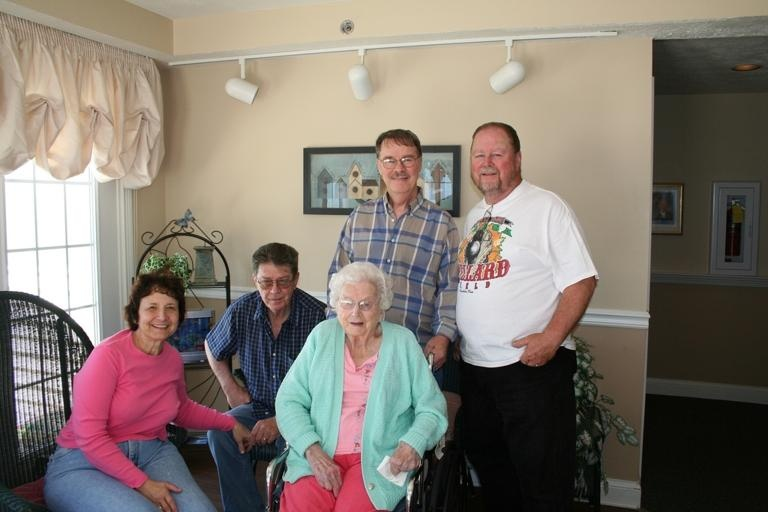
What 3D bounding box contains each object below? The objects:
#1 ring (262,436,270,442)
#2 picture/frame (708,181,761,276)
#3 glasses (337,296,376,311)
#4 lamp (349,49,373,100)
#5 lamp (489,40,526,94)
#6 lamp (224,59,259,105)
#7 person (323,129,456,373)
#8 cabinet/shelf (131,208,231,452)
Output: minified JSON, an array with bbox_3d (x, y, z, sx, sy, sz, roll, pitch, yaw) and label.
[{"bbox_3d":[-0.679,1.050,3.362,0.027,0.021,0.008,14,-24,9],"label":"ring"},{"bbox_3d":[3.174,-0.250,5.342,0.399,0.824,0.143,3,13,10],"label":"picture/frame"},{"bbox_3d":[-0.150,0.242,2.953,0.173,0.057,0.030,2,13,6],"label":"glasses"},{"bbox_3d":[-0.163,-1.358,4.163,0.171,0.417,0.416,1,-4,-1],"label":"lamp"},{"bbox_3d":[0.846,-1.308,4.051,0.237,0.367,0.197,5,14,17],"label":"lamp"},{"bbox_3d":[-1.095,-1.343,4.519,0.283,0.343,0.204,3,14,12],"label":"lamp"},{"bbox_3d":[0.034,0.251,3.478,0.773,1.956,0.625,1,8,11],"label":"person"},{"bbox_3d":[-1.545,0.641,4.570,0.695,1.909,0.357,-1,3,-19],"label":"cabinet/shelf"}]
